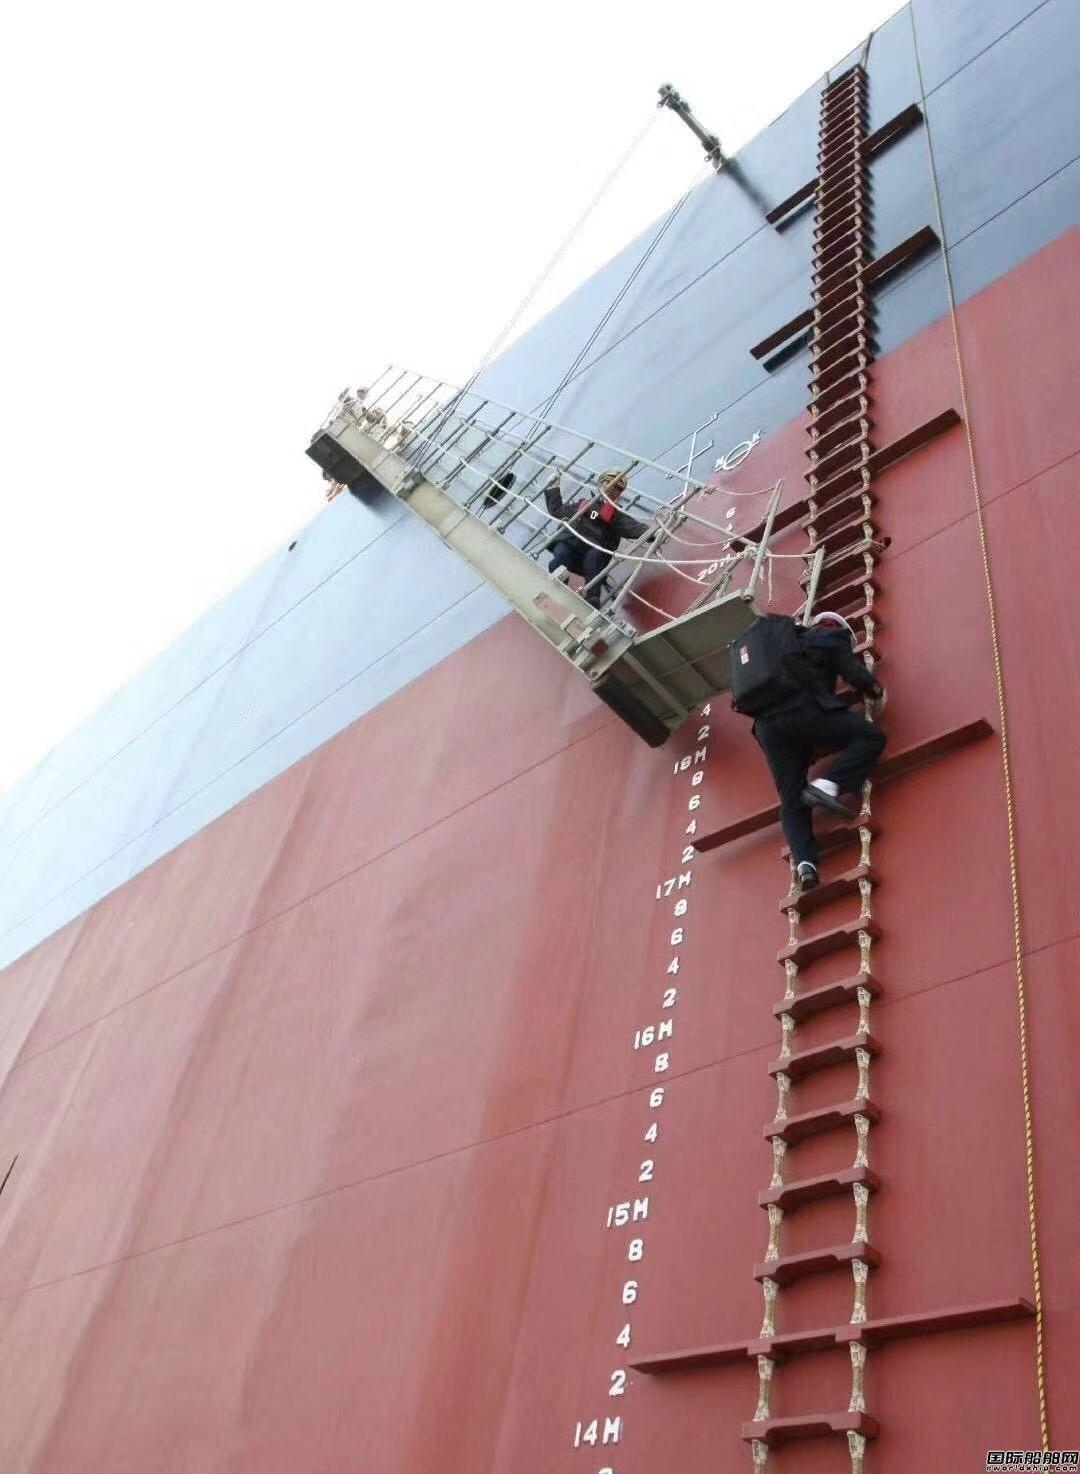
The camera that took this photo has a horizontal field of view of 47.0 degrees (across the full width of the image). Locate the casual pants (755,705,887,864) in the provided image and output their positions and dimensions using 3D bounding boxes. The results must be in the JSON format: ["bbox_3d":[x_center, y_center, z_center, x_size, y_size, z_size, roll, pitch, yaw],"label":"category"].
[{"bbox_3d":[1.489,0.229,6.487,0.412,0.896,0.303,20,-51,-14],"label":"casual pants"}]

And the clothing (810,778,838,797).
[{"bbox_3d":[1.434,0.247,6.294,0.082,0.118,0.072,-49,-3,2],"label":"clothing"}]

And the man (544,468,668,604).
[{"bbox_3d":[0.446,-1.666,10.604,1.128,1.546,0.417,7,-30,20],"label":"man"}]

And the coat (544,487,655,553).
[{"bbox_3d":[0.532,-1.851,10.641,0.289,0.944,0.432,3,-70,-47],"label":"coat"}]

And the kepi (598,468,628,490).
[{"bbox_3d":[0.646,-2.261,10.934,0.267,0.109,0.270,15,6,-9],"label":"kepi"}]

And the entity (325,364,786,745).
[{"bbox_3d":[-0.232,-1.978,11.539,1.253,8.330,1.834,30,-83,-40],"label":"entity"}]

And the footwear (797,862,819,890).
[{"bbox_3d":[1.322,0.700,6.168,0.087,0.185,0.070,8,-35,-6],"label":"footwear"}]

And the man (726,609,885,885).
[{"bbox_3d":[1.471,-0.035,6.652,0.884,1.587,0.601,-4,-24,8],"label":"man"}]
